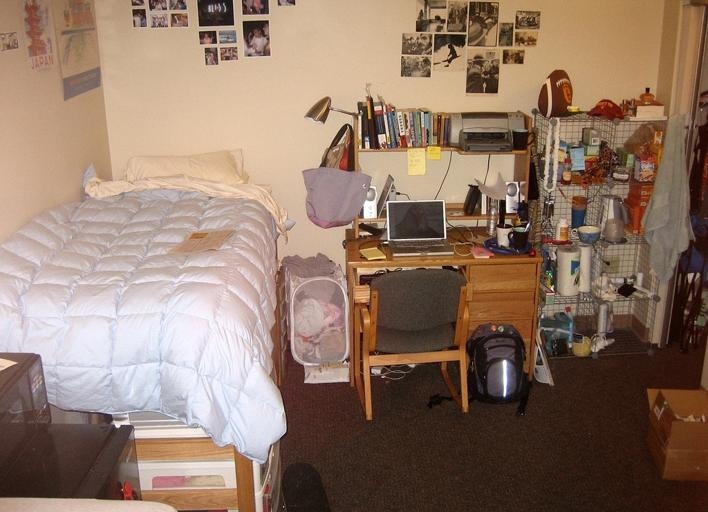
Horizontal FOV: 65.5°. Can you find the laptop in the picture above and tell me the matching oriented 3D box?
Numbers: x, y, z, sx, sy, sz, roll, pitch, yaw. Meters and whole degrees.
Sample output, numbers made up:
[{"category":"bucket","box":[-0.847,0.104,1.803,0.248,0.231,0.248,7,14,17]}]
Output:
[{"category":"laptop","box":[0.434,-0.199,3.620,0.469,0.306,0.366,-1,19,-2]}]

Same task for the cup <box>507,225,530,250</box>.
[{"category":"cup","box":[1.120,-0.124,3.739,0.130,0.164,0.187,4,14,17]}]

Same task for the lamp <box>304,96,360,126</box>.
[{"category":"lamp","box":[-0.148,-1.041,3.909,0.354,0.197,0.445,0,13,0]}]

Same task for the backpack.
[{"category":"backpack","box":[0.778,0.715,3.661,0.465,0.690,0.634,3,24,2]}]

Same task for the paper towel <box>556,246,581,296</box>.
[{"category":"paper towel","box":[1.571,0.115,4.051,0.178,0.362,0.104,4,14,18]}]

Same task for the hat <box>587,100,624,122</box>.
[{"category":"hat","box":[1.846,-1.066,4.028,0.253,0.151,0.238,4,14,19]}]

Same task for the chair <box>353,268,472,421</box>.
[{"category":"chair","box":[0.371,0.568,3.488,0.676,1.014,0.637,-3,33,-1]}]

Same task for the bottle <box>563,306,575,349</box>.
[{"category":"bottle","box":[1.631,0.547,4.205,0.068,0.340,0.133,4,-4,-36]}]

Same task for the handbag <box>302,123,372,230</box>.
[{"category":"handbag","box":[-0.131,-0.542,3.932,0.543,0.693,0.241,3,4,8]}]

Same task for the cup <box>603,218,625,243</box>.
[{"category":"cup","box":[1.869,-0.179,4.029,0.162,0.138,0.172,-5,18,2]}]

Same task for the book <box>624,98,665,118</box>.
[{"category":"book","box":[2.108,-1.068,4.015,0.279,0.150,0.203,7,15,28]}]

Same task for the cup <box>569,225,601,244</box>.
[{"category":"cup","box":[1.719,-0.159,4.049,0.163,0.080,0.133,1,13,24]}]

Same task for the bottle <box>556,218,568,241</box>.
[{"category":"bottle","box":[1.549,-0.192,4.101,0.091,0.160,0.082,2,13,9]}]
